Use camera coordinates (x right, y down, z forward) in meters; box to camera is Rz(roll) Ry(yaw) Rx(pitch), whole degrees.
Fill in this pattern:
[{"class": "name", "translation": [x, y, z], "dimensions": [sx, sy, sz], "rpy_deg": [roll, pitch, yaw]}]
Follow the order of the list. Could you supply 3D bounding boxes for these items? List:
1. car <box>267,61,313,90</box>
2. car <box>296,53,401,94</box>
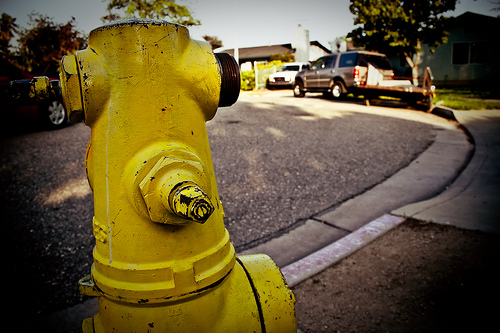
[{"class": "car", "translation": [2.143, -5.084, 22.463], "dimensions": [1.546, 1.355, 2.813], "rpy_deg": [5, 18, 24]}, {"class": "car", "translation": [4.038, -3.434, 14.820], "dimensions": [2.636, 1.556, 5.011], "rpy_deg": [-9, 19, -23]}]
